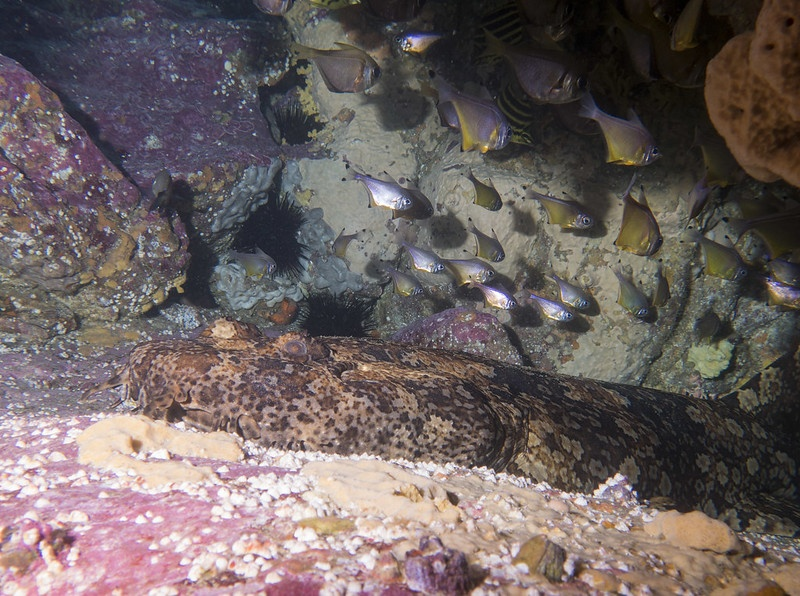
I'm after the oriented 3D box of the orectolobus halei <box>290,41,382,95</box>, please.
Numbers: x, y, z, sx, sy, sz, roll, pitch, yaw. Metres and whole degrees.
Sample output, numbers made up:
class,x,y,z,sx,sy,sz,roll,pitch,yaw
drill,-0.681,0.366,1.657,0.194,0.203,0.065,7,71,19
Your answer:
class,x,y,z,sx,sy,sz,roll,pitch,yaw
orectolobus halei,-0.641,-2.420,8.777,0.858,0.557,0.408,5,29,-5

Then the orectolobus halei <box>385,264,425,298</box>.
class,x,y,z,sx,sy,sz,roll,pitch,yaw
orectolobus halei,0.071,-0.234,10.512,0.509,0.302,0.117,40,23,11

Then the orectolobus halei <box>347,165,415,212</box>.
class,x,y,z,sx,sy,sz,roll,pitch,yaw
orectolobus halei,-0.233,-1.226,9.167,0.631,0.439,0.724,-3,15,-18
